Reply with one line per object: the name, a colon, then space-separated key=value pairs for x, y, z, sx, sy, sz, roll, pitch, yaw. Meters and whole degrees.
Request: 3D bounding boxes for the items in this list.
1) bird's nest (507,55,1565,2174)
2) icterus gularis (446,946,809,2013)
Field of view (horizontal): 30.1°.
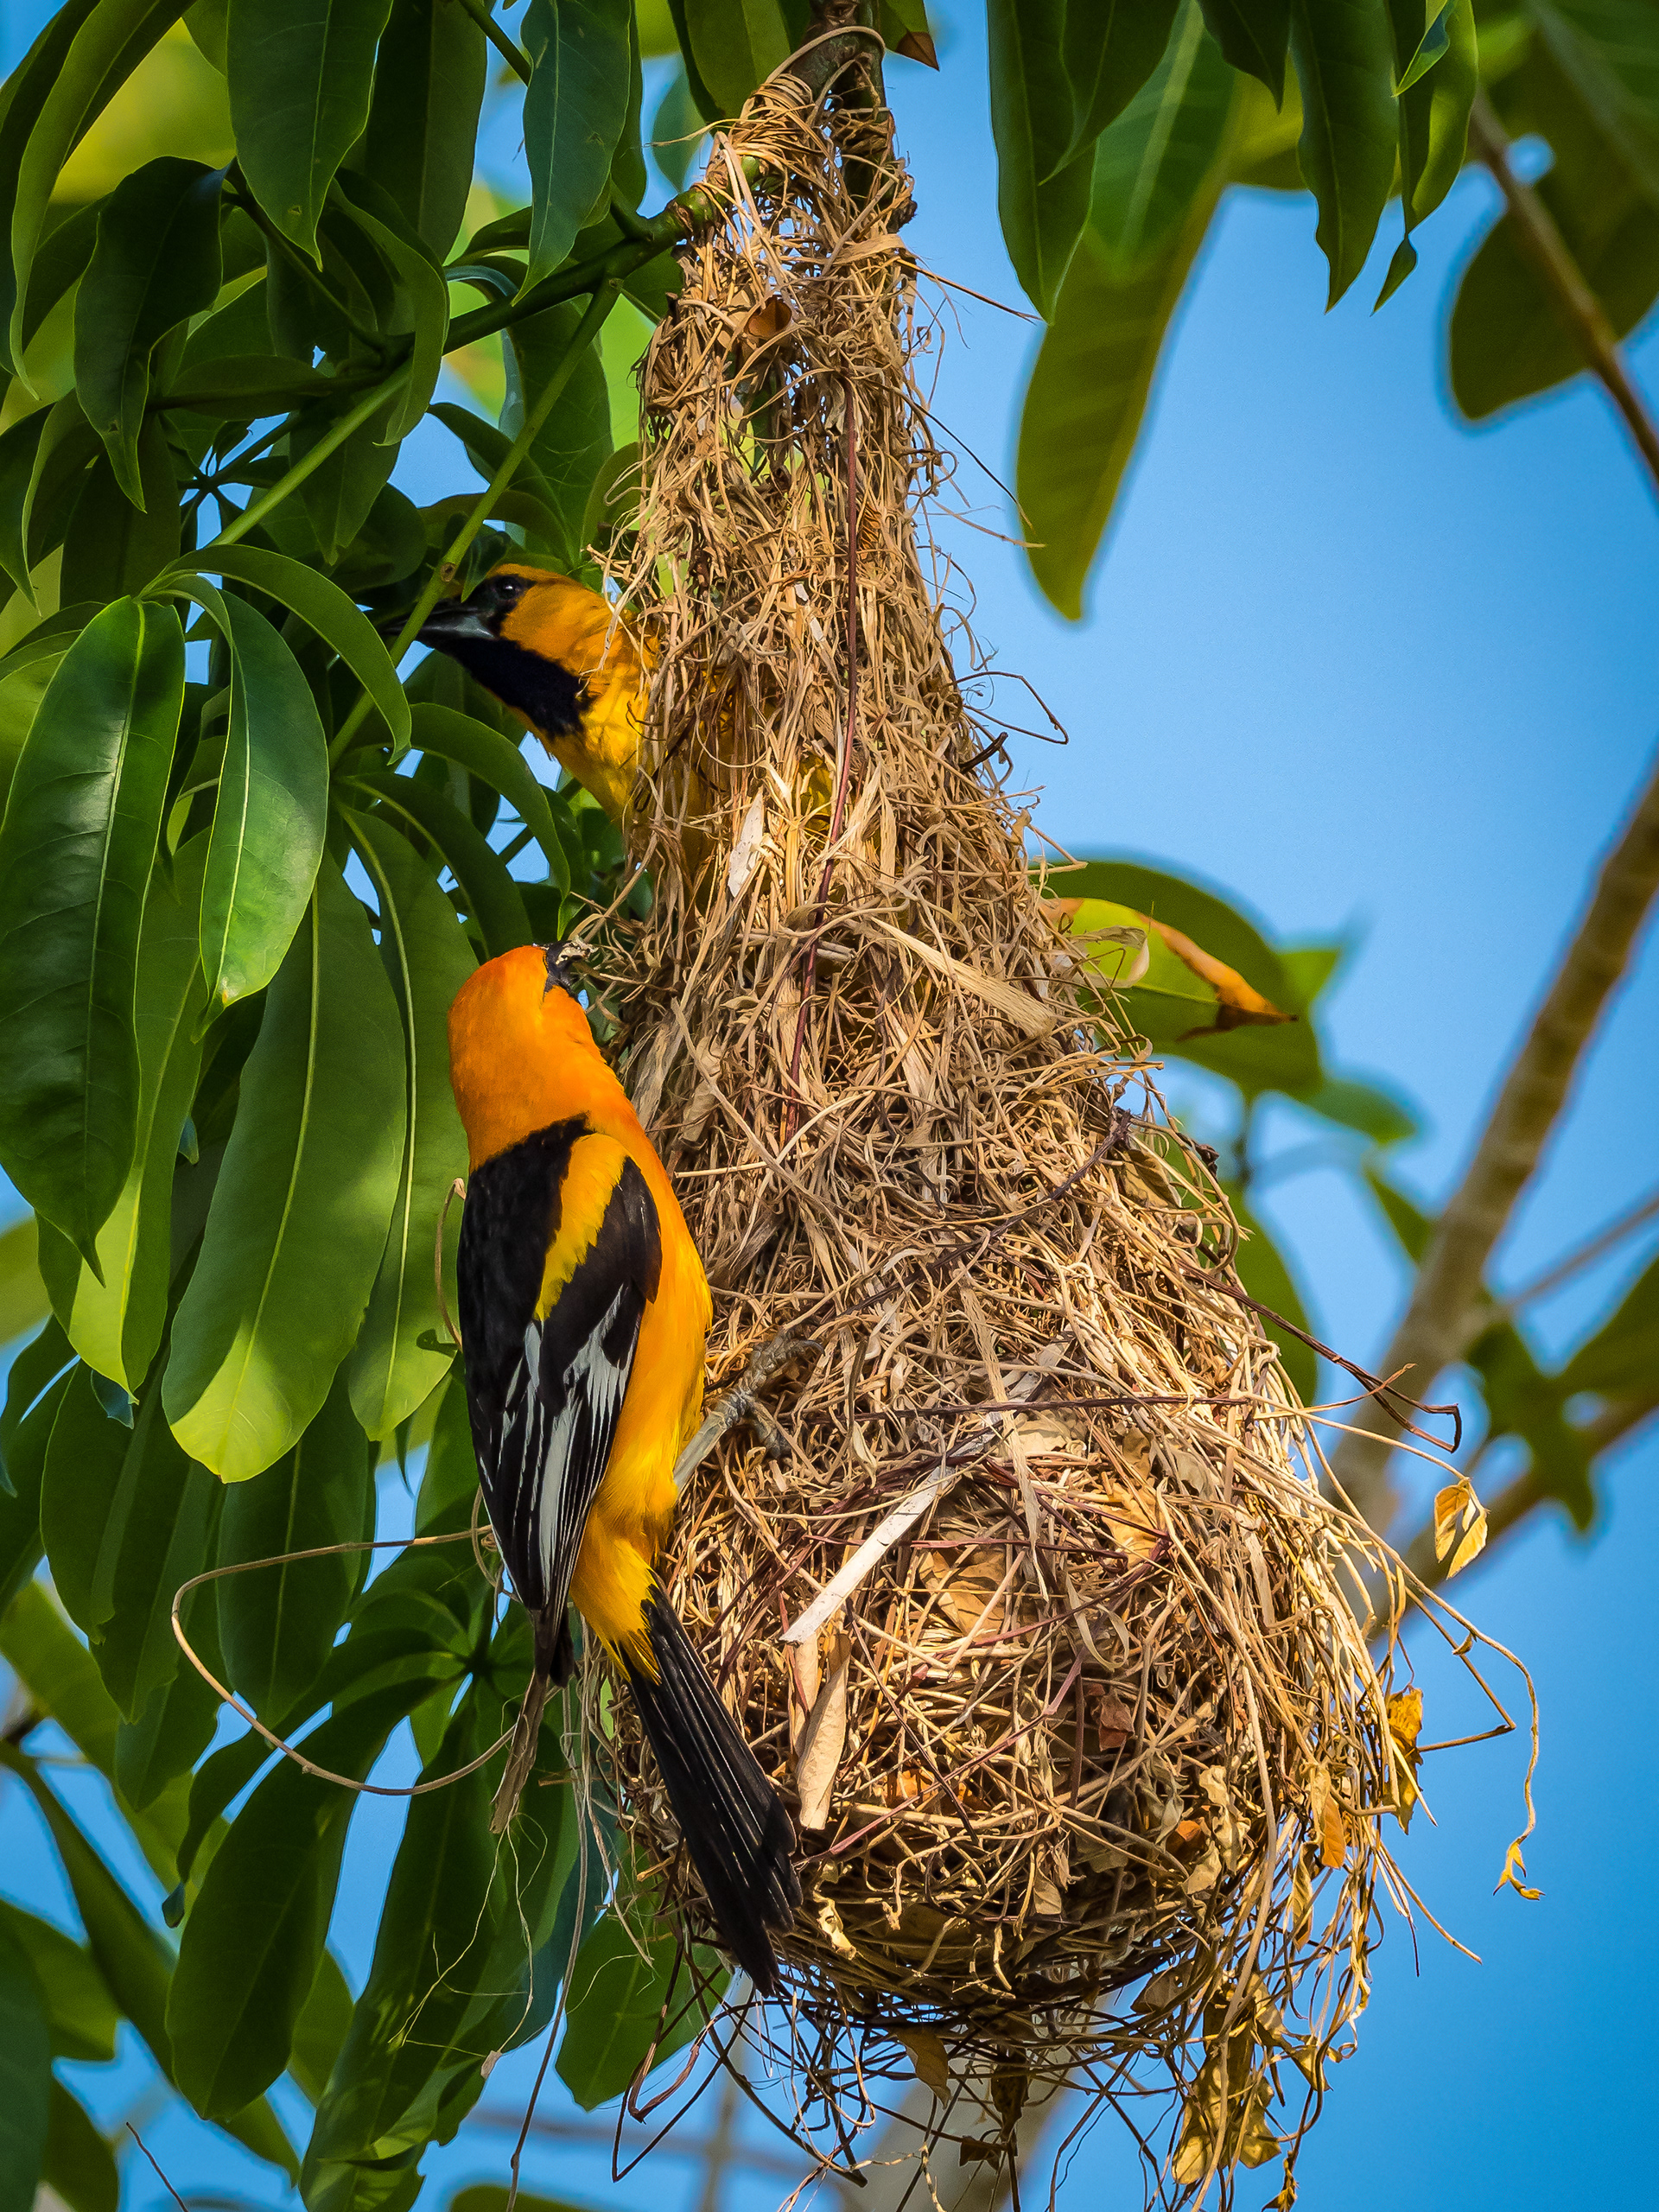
bird's nest: x=0.115 y=0.006 z=2.612 sx=1.258 sy=1.502 sz=0.463 roll=42 pitch=-49 yaw=-19
icterus gularis: x=-0.222 y=0.241 z=2.458 sx=0.341 sy=0.903 sz=0.208 roll=-2 pitch=-25 yaw=-19
